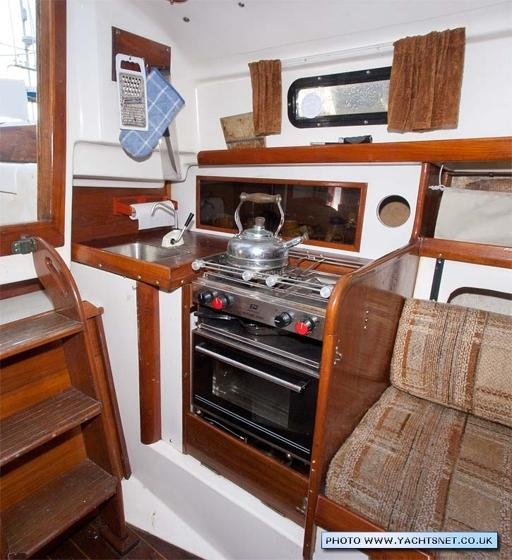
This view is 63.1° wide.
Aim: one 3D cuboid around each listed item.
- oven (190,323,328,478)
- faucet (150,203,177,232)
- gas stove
[{"bbox_3d":[0.040,0.411,1.684,0.561,0.422,0.381,13,13,32],"label":"oven"},{"bbox_3d":[-0.525,-0.366,2.369,0.136,0.158,0.364,-2,16,-13],"label":"faucet"},{"bbox_3d":[0.056,0.060,1.628,0.680,0.243,0.425,14,19,38],"label":"gas stove"}]
